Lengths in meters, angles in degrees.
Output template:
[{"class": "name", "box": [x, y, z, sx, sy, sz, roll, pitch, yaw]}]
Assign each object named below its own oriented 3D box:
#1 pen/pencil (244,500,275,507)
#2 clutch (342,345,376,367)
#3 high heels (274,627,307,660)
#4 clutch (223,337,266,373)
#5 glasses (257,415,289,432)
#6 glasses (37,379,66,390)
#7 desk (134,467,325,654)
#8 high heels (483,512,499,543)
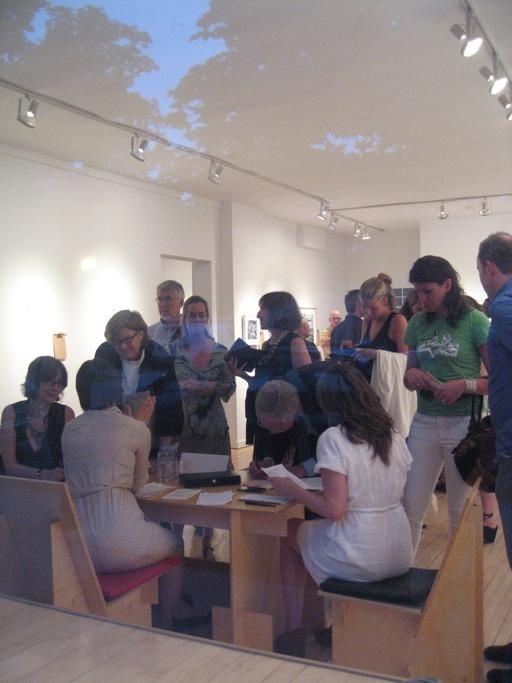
[{"class": "pen/pencil", "box": [0.013, 0.410, 1.437, 0.069, 0.009, 0.016, 1, 0, 28]}, {"class": "clutch", "box": [0.243, 0.032, 1.348, 0.060, 0.020, 0.043, 16, -9, 18]}, {"class": "high heels", "box": [0.089, 0.749, 1.418, 0.098, 0.085, 0.055, 0, -3, 8]}, {"class": "clutch", "box": [-0.028, 0.039, 1.536, 0.089, 0.085, 0.028, -38, 0, 32]}, {"class": "glasses", "box": [0.046, 0.217, 1.487, 0.052, 0.028, 0.056, 6, 1, 22]}, {"class": "glasses", "box": [-0.591, 0.122, 1.686, 0.052, 0.020, 0.040, 5, 0, 31]}, {"class": "desk", "box": [-0.043, 0.543, 1.432, 0.449, 0.315, 0.379, -3, -6, 24]}, {"class": "high heels", "box": [0.562, 0.447, 1.364, 0.043, 0.053, 0.140, -6, -10, 24]}]
